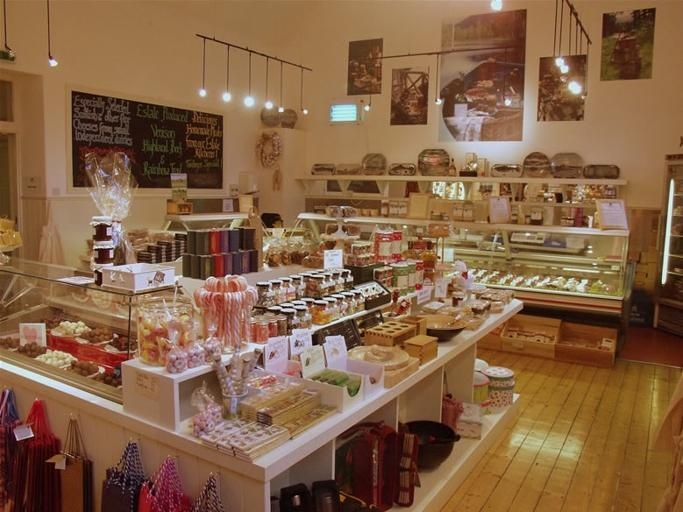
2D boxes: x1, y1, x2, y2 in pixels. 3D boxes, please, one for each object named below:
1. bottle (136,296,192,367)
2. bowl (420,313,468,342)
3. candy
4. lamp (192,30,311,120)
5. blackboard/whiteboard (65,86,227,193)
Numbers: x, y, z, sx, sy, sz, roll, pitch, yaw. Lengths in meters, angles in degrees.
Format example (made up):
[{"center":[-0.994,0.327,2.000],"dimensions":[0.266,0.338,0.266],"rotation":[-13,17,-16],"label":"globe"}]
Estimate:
[{"center":[-0.984,0.415,2.906],"dimensions":[0.320,0.374,0.335],"rotation":[0,1,-28],"label":"bottle"},{"center":[0.807,0.556,4.059],"dimensions":[0.223,0.083,0.230],"rotation":[-1,11,0],"label":"bowl"},{"center":[-0.799,0.572,2.825],"dimensions":[0.422,0.775,0.766],"rotation":[5,7,31],"label":"candy"},{"center":[-1.432,-2.945,8.817],"dimensions":[2.287,0.996,0.245],"rotation":[-3,7,-45],"label":"lamp"},{"center":[-2.741,-1.664,7.725],"dimensions":[0.038,1.317,2.480],"rotation":[10,11,38],"label":"blackboard/whiteboard"}]
